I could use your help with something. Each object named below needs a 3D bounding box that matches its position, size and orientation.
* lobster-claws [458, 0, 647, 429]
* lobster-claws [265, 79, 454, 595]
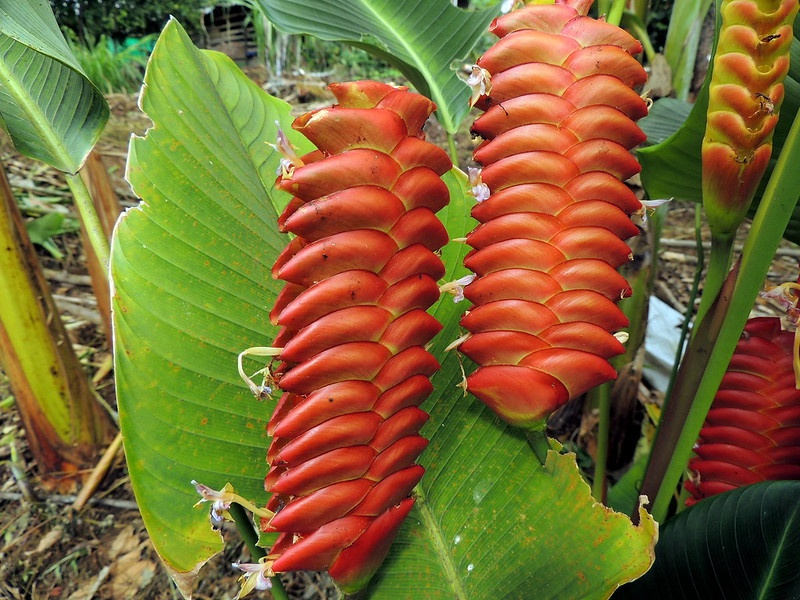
[{"bbox_3d":[0.335,-0.177,1.654,0.388,0.941,0.219,3,11,4],"label":"lobster-claws"},{"bbox_3d":[-0.090,0.102,1.585,0.377,1.092,0.207,1,11,-3],"label":"lobster-claws"}]
